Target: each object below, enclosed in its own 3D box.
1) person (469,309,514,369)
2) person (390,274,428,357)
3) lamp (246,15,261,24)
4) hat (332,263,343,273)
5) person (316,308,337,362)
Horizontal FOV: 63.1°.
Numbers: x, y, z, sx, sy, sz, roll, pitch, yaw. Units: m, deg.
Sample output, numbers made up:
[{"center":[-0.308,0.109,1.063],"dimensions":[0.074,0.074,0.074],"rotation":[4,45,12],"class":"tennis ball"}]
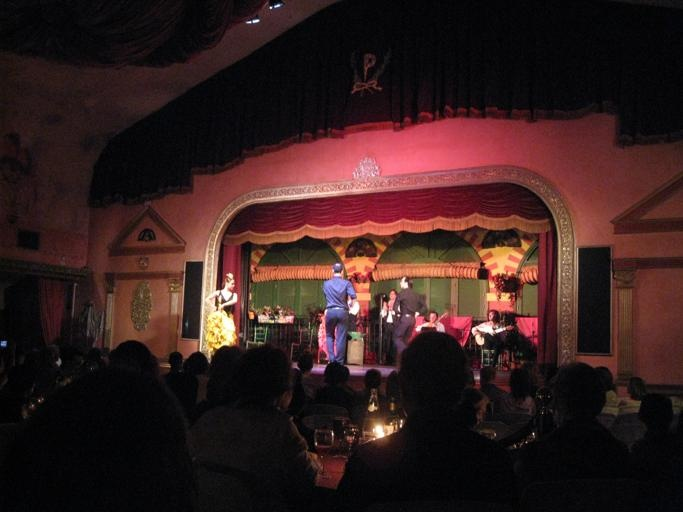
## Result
[{"center":[2.957,1.798,11.386],"dimensions":[0.859,0.481,1.769],"rotation":[12,-19,-2],"class":"person"},{"center":[1.250,1.172,10.482],"dimensions":[0.521,1.618,0.500],"rotation":[-1,16,-7],"class":"person"},{"center":[-1.655,-4.451,10.480],"dimensions":[0.176,0.101,0.134],"rotation":[-4,-40,-5],"class":"lamp"},{"center":[-0.062,0.184,9.679],"dimensions":[0.147,0.171,0.232],"rotation":[4,-7,-2],"class":"hat"},{"center":[-0.324,1.759,12.061],"dimensions":[0.363,1.302,0.316],"rotation":[-12,-49,3],"class":"person"}]
